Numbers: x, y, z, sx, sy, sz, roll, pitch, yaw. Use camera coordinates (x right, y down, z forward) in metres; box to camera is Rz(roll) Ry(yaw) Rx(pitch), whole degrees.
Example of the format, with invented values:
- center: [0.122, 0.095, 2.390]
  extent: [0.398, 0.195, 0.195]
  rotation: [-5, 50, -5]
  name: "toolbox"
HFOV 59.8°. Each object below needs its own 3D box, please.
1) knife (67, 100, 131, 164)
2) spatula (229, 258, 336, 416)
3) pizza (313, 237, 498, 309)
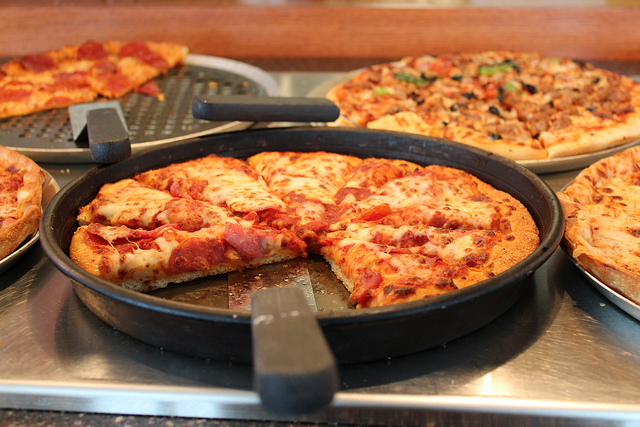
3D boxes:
- center: [-0.887, -0.339, 2.285]
  extent: [0.285, 0.071, 0.504]
  rotation: [-6, 33, -21]
  name: "knife"
- center: [-0.105, 0.267, 1.528]
  extent: [0.209, 0.142, 0.565]
  rotation: [-7, 30, -10]
  name: "spatula"
- center: [0.266, 0.180, 1.848]
  extent: [0.276, 0.047, 0.373]
  rotation: [-13, 15, -29]
  name: "pizza"
